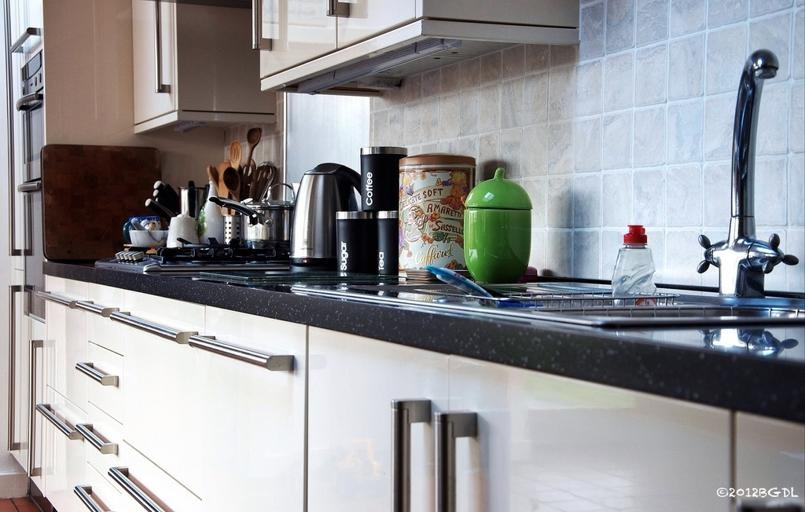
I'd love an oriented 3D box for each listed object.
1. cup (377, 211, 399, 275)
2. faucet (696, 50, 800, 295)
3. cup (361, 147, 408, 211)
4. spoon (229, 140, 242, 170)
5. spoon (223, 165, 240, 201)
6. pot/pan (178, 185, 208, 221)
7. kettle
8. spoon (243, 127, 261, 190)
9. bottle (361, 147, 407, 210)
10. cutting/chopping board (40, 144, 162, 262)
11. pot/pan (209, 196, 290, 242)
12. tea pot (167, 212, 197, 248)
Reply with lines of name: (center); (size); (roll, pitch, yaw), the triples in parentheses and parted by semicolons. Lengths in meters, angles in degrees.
cup: (-0.043, -0.037, 2.090); (0.065, 0.182, 0.043); (2, 4, 8)
faucet: (0.736, -0.162, 1.457); (0.182, 0.485, 0.208); (5, 6, 43)
cup: (-0.065, -0.244, 2.319); (0.176, 0.198, 0.177); (1, -1, 0)
spoon: (-0.822, -0.495, 3.516); (0.047, 0.128, 0.179); (0, 5, -18)
spoon: (-0.821, -0.345, 3.434); (0.080, 0.153, 0.050); (1, 4, -3)
pot/pan: (-1.006, -0.266, 3.484); (0.175, 0.177, 0.202); (0, 6, -11)
kettle: (-0.272, -0.126, 2.394); (0.337, 0.342, 0.244); (5, -5, -40)
spoon: (-0.730, -0.479, 3.465); (0.078, 0.331, 0.057); (2, -6, 10)
bottle: (-0.032, -0.238, 2.290); (0.176, 0.194, 0.167); (3, -4, -38)
cutting/chopping board: (-1.543, -0.252, 3.576); (0.592, 0.602, 0.047); (-2, -3, -20)
pot/pan: (-0.574, -0.136, 2.768); (0.175, 0.129, 0.323); (1, 1, 39)
tea pot: (-0.898, -0.106, 2.980); (0.132, 0.149, 0.137); (0, -4, 0)
